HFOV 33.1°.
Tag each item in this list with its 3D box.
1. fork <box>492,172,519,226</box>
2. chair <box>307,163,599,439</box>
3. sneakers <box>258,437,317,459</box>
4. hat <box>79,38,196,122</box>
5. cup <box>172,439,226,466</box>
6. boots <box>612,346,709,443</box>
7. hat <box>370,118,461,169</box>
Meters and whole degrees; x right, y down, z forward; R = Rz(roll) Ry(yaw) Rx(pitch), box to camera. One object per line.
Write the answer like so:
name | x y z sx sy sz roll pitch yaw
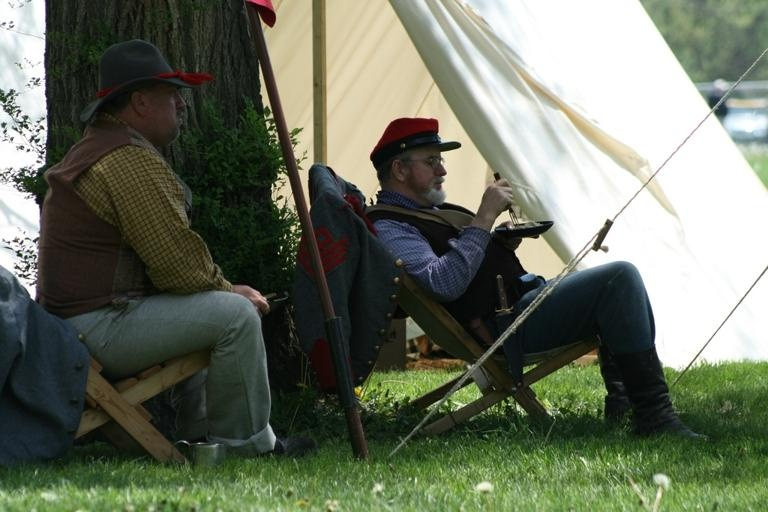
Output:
fork | 0.767 -0.380 8.155 0.055 0.415 0.059 -23 9 22
chair | 0.350 0.142 8.220 1.896 1.740 1.413 -4 16 -16
sneakers | -0.509 1.082 7.238 0.205 0.086 0.120 -1 -3 -41
hat | -1.418 -1.047 7.375 0.787 0.345 0.612 -15 12 -4
cup | -0.998 1.071 7.045 0.219 0.145 0.134 1 -2 7
boots | 1.590 0.800 7.360 0.240 0.592 0.531 -15 15 -32
hat | 0.190 -0.772 8.297 0.606 0.232 0.451 -13 -3 25
